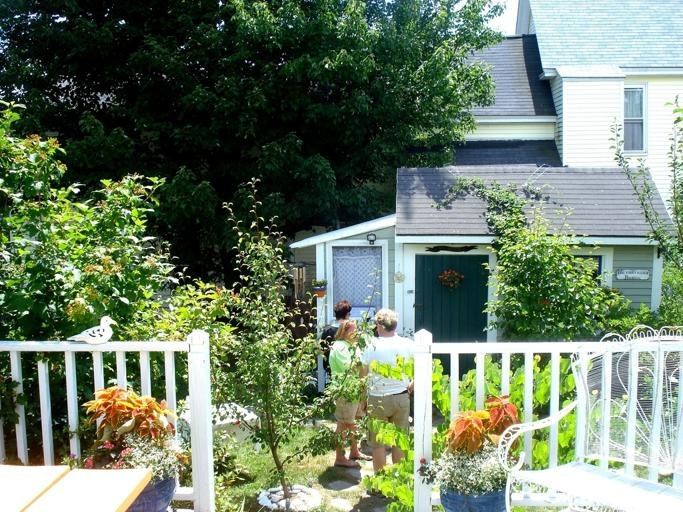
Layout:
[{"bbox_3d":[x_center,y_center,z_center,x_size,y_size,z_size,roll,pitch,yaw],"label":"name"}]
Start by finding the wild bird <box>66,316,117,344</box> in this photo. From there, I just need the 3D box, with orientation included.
[{"bbox_3d":[-2.375,0.692,8.202,0.407,0.267,0.231,3,0,5],"label":"wild bird"}]

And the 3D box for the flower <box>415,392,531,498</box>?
[{"bbox_3d":[1.264,1.832,8.180,0.807,0.622,0.897,1,17,36],"label":"flower"}]

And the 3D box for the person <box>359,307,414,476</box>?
[{"bbox_3d":[0.543,1.663,10.300,0.719,2.268,0.521,-9,20,-23],"label":"person"}]

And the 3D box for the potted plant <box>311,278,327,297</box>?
[{"bbox_3d":[-0.359,0.511,13.984,0.309,0.325,0.274,0,-4,-4],"label":"potted plant"}]

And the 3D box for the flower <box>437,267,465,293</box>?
[{"bbox_3d":[1.728,0.346,13.474,0.320,0.340,0.212,-1,-2,-4],"label":"flower"}]
